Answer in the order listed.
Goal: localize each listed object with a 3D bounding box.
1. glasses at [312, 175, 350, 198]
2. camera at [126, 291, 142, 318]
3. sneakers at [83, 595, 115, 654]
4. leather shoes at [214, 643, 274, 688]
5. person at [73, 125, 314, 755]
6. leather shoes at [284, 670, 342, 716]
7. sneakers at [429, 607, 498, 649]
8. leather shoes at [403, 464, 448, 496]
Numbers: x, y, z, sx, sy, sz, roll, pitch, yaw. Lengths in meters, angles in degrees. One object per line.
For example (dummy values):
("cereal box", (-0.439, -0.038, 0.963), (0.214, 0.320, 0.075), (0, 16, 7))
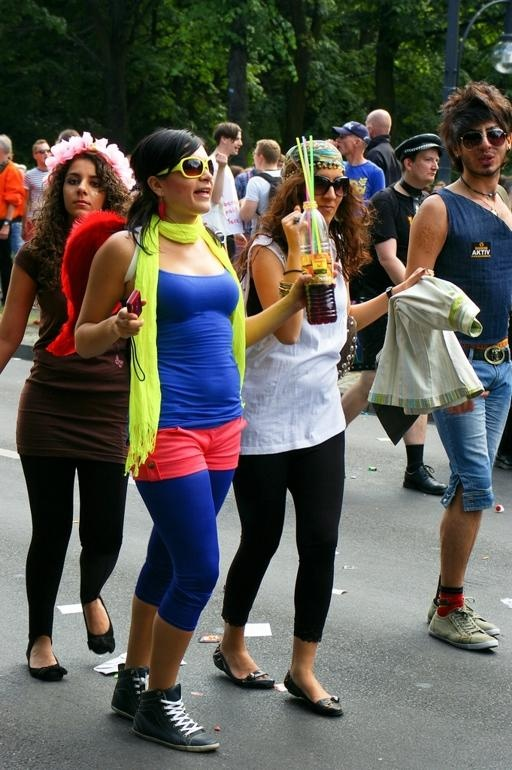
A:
("glasses", (0.240, -0.629, 2.467), (0.092, 0.033, 0.085), (-2, 4, -39))
("camera", (-0.272, -0.180, 1.768), (0.026, 0.063, 0.064), (4, 20, 10))
("sneakers", (-0.571, 0.882, 2.855), (0.115, 0.203, 0.059), (-16, 3, -19))
("leather shoes", (-0.048, 0.941, 2.714), (0.094, 0.093, 0.257), (-18, 25, -37))
("person", (-0.218, 0.164, 2.081), (0.493, 1.683, 0.359), (1, 4, -32))
("leather shoes", (0.171, 0.980, 2.496), (0.080, 0.056, 0.212), (-9, 17, -42))
("sneakers", (0.804, 0.966, 3.189), (0.318, 0.126, 0.112), (5, 7, 38))
("leather shoes", (1.194, 0.683, 5.624), (0.140, 0.148, 0.359), (3, -3, -39))
